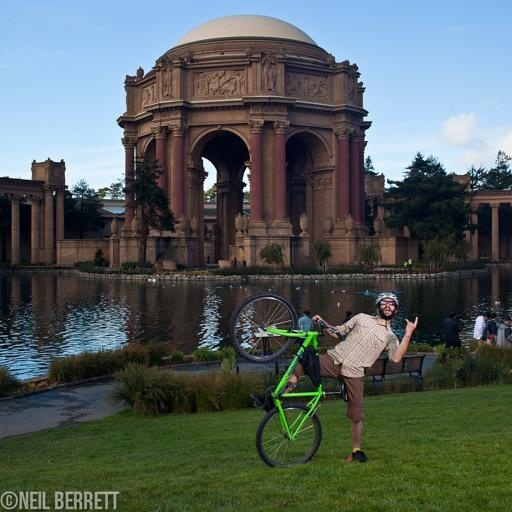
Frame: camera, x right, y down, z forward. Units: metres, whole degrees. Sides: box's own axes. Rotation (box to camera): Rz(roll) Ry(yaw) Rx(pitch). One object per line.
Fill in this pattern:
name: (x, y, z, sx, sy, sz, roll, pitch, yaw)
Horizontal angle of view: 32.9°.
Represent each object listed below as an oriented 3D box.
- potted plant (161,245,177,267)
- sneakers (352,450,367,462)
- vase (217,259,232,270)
potted plant: (-5.900, 0.160, 59.579, 1.059, 1.299, 1.215, 1, -11, -6)
sneakers: (1.238, 2.327, 10.162, 0.162, 0.172, 0.097, -5, 13, -7)
vase: (-1.863, 0.559, 57.270, 0.659, 0.464, 0.654, -1, 2, -24)
